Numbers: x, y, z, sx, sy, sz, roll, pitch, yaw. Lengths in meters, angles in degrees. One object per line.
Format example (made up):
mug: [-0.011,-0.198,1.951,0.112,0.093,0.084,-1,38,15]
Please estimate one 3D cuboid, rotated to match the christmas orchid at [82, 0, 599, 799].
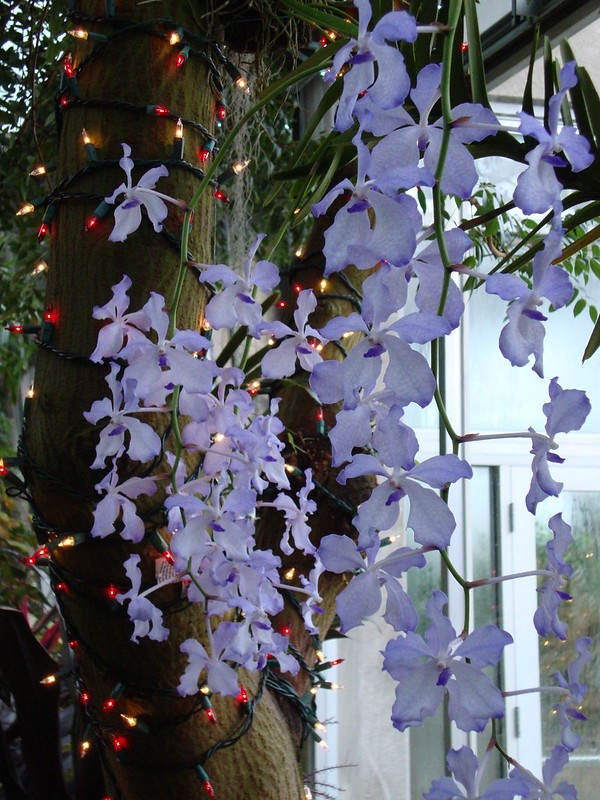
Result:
christmas orchid: [0.058,0.004,1.010,0.580,0.730,0.279,-5,-10,11]
